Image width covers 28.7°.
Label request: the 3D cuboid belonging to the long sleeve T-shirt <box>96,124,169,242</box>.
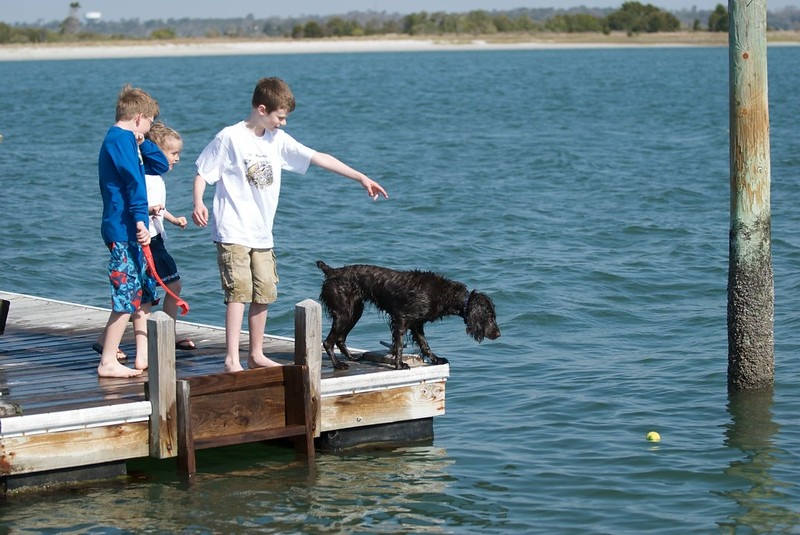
[{"bbox_3d":[-3.805,-1.163,21.720,0.795,1.627,0.830,-5,11,-6],"label":"long sleeve T-shirt"}]

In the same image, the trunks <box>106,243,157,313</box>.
[{"bbox_3d":[-3.746,0.125,21.772,0.363,1.031,0.667,4,13,36],"label":"trunks"}]
